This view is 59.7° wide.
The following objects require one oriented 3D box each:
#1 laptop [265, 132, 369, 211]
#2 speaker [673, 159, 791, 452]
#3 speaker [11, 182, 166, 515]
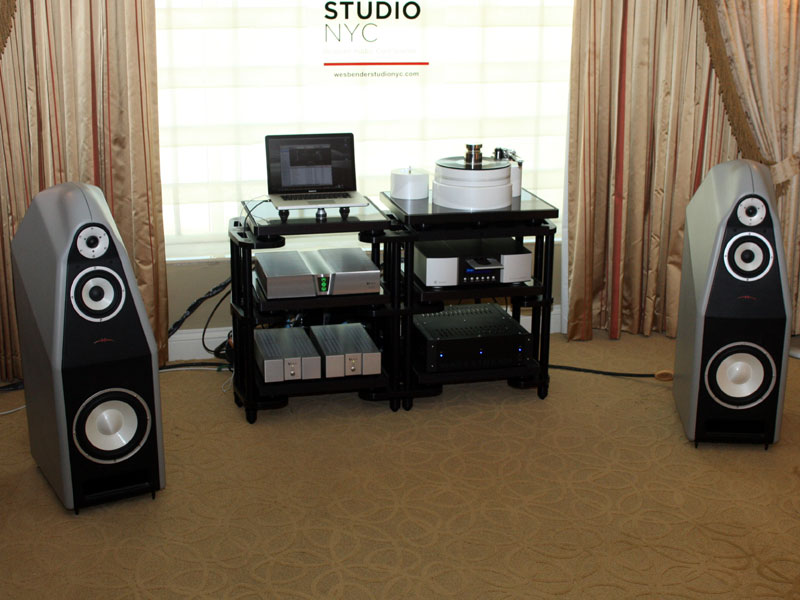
[{"bbox_3d":[-0.412,-0.612,3.266,0.473,0.359,0.378,-4,25,-14],"label":"laptop"},{"bbox_3d":[1.447,0.028,3.011,0.425,1.215,0.362,3,16,17],"label":"speaker"},{"bbox_3d":[-1.213,0.176,2.668,0.371,1.218,0.532,-15,20,-40],"label":"speaker"}]
